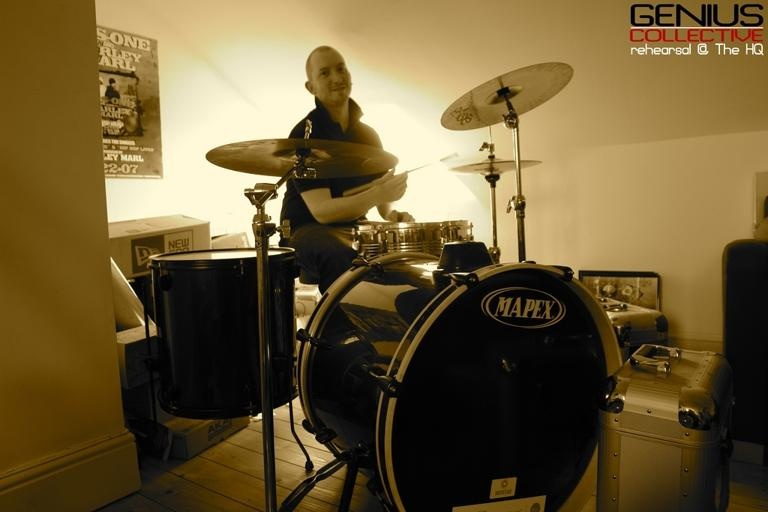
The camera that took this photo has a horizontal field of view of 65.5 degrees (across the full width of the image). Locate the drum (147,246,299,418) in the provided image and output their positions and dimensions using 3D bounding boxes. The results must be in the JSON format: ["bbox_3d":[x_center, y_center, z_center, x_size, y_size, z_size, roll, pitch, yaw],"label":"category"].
[{"bbox_3d":[-0.732,0.298,2.977,0.696,0.731,0.732,2,5,29],"label":"drum"}]

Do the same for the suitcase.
[{"bbox_3d":[1.290,0.386,3.107,0.369,0.264,0.275,3,-9,-18],"label":"suitcase"}]

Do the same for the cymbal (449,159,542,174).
[{"bbox_3d":[0.698,-0.602,3.988,0.415,0.096,0.302,-3,6,-16],"label":"cymbal"}]

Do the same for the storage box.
[{"bbox_3d":[-1.278,-0.135,3.441,0.549,0.394,0.259,-14,31,-40],"label":"storage box"}]

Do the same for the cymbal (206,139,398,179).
[{"bbox_3d":[-0.339,-0.453,2.715,0.460,0.063,0.452,-4,0,-25],"label":"cymbal"}]
